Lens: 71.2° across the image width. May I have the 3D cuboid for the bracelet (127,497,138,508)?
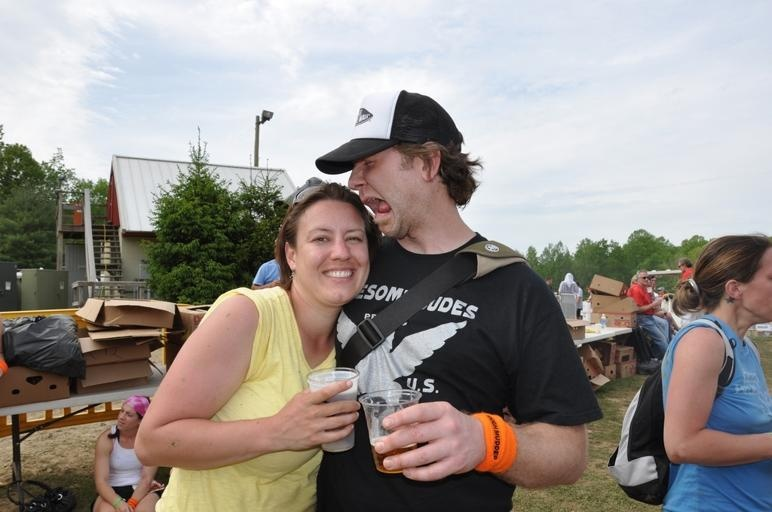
[{"bbox_3d":[-2.539,2.490,5.423,0.081,0.080,0.075,-55,-1,42],"label":"bracelet"}]

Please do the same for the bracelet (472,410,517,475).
[{"bbox_3d":[0.571,0.995,3.058,0.159,0.248,0.190,-11,-24,-25],"label":"bracelet"}]

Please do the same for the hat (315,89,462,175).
[{"bbox_3d":[0.074,-0.707,3.814,1.239,0.627,0.799,-1,3,-6],"label":"hat"}]

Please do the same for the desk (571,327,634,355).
[{"bbox_3d":[3.881,1.537,9.670,1.401,0.323,0.922,-1,-1,-44],"label":"desk"}]

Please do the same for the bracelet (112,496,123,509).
[{"bbox_3d":[-2.676,2.474,5.386,0.148,0.079,0.069,-1,-1,38],"label":"bracelet"}]

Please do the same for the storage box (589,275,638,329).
[{"bbox_3d":[4.758,1.027,11.293,0.743,0.723,1.284,-9,16,-12],"label":"storage box"}]

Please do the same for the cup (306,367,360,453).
[{"bbox_3d":[-0.313,0.971,3.270,0.303,0.562,0.320,0,0,0],"label":"cup"}]

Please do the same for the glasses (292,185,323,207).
[{"bbox_3d":[-0.565,-0.417,3.698,0.176,0.048,0.177,-43,-10,21],"label":"glasses"}]

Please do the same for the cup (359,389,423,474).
[{"bbox_3d":[0.031,1.023,3.172,0.435,0.445,0.429,-3,-15,-1],"label":"cup"}]
